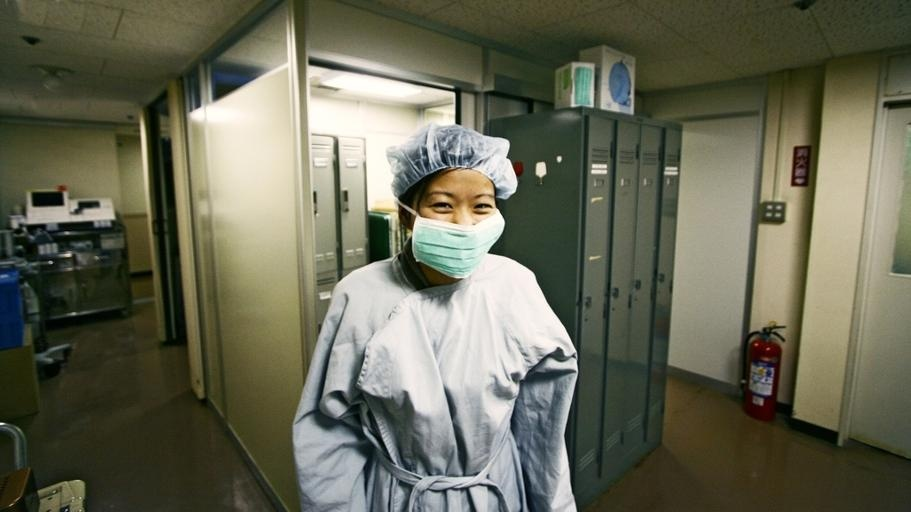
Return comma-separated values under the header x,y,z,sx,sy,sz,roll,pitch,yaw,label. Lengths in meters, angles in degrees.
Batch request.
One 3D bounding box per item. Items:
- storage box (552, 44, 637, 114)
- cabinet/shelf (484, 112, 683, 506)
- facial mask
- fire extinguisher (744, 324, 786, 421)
x,y,z,sx,sy,sz,roll,pitch,yaw,label
1.476,-1.836,6.636,0.895,0.669,0.252,-3,9,-22,storage box
1.258,0.570,7.373,1.804,4.303,1.985,7,11,41,cabinet/shelf
0.018,-0.101,5.146,0.697,0.516,0.200,0,9,2,facial mask
3.663,1.354,7.492,0.439,1.111,0.247,-2,9,-11,fire extinguisher
